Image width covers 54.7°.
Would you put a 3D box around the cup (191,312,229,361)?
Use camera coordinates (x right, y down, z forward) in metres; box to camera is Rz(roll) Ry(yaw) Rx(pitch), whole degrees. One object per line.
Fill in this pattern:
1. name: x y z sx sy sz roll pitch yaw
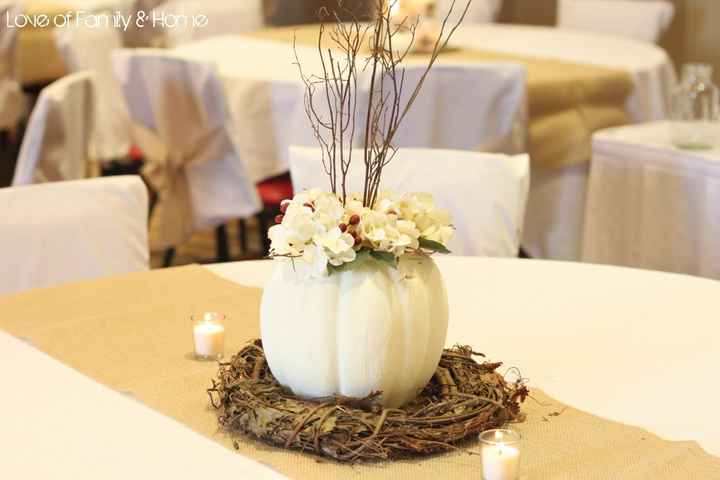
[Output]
1. cup: -0.276 0.178 1.327 0.080 0.093 0.077 2 15 0
